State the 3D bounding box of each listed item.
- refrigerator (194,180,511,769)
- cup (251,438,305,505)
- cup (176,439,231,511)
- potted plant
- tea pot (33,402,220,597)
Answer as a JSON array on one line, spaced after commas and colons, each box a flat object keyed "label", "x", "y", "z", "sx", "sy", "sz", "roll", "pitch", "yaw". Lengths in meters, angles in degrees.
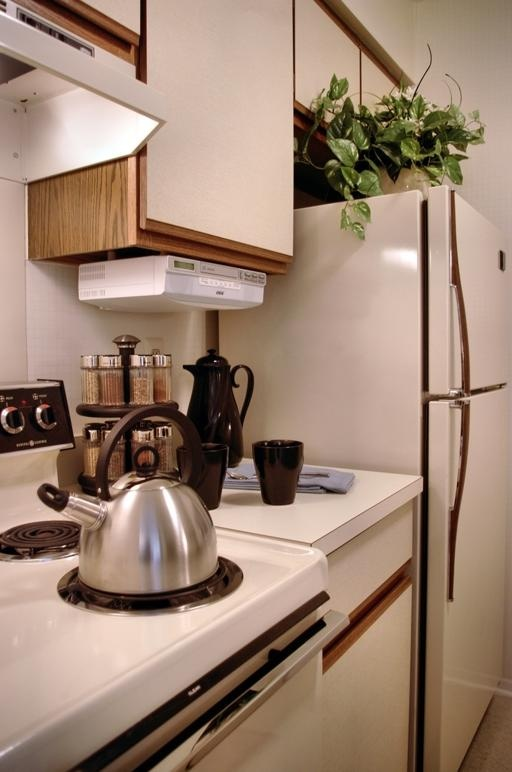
[{"label": "refrigerator", "x": 0.508, "y": 0.201, "z": 2.636, "sx": 1.204, "sy": 2.642, "sz": 1.217, "roll": -1, "pitch": 0, "yaw": 24}, {"label": "cup", "x": 0.044, "y": 0.156, "z": 1.061, "sx": 0.105, "sy": 0.126, "sz": 0.101, "roll": -1, "pitch": 4, "yaw": 0}, {"label": "cup", "x": -0.067, "y": 0.151, "z": 0.948, "sx": 0.119, "sy": 0.129, "sz": 0.085, "roll": 0, "pitch": 8, "yaw": 3}, {"label": "potted plant", "x": 0.411, "y": -0.662, "z": 1.588, "sx": 0.408, "sy": 0.507, "sz": 0.445, "roll": 3, "pitch": 21, "yaw": 16}, {"label": "tea pot", "x": -0.147, "y": 0.115, "z": 0.682, "sx": 0.156, "sy": 0.203, "sz": 0.217, "roll": 2, "pitch": 3, "yaw": 41}]
